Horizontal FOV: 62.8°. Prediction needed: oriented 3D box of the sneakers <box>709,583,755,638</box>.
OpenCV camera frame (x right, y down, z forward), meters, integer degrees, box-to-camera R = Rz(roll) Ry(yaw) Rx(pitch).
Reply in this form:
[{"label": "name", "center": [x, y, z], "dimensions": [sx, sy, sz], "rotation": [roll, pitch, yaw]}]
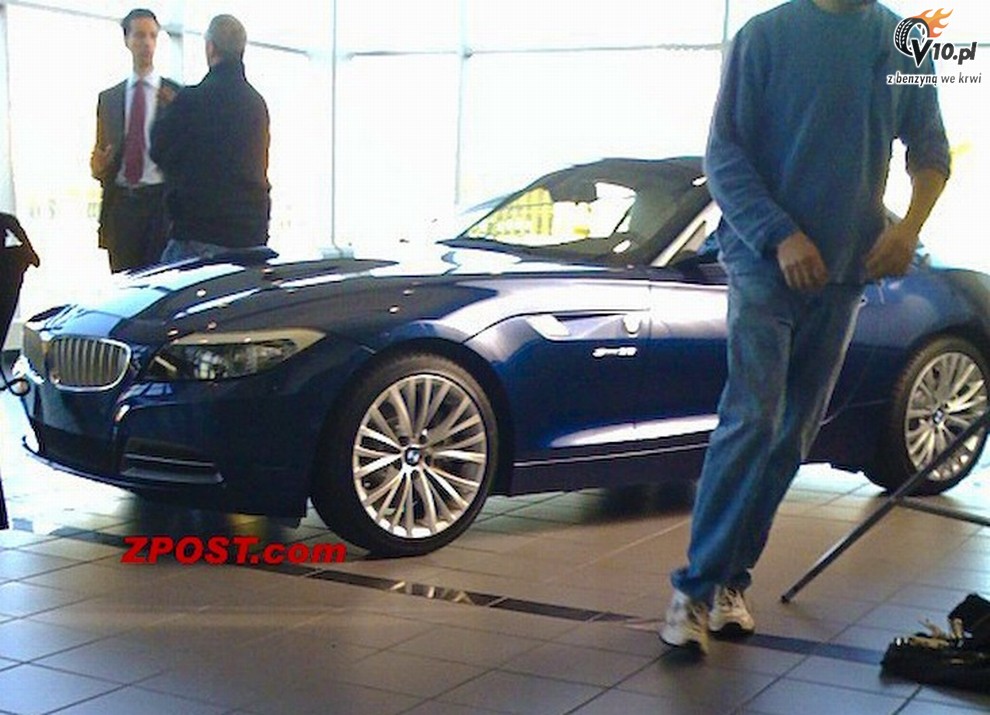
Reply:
[{"label": "sneakers", "center": [0.782, 0.858, 2.697], "dimensions": [0.093, 0.100, 0.228], "rotation": [-1, -4, 4]}]
